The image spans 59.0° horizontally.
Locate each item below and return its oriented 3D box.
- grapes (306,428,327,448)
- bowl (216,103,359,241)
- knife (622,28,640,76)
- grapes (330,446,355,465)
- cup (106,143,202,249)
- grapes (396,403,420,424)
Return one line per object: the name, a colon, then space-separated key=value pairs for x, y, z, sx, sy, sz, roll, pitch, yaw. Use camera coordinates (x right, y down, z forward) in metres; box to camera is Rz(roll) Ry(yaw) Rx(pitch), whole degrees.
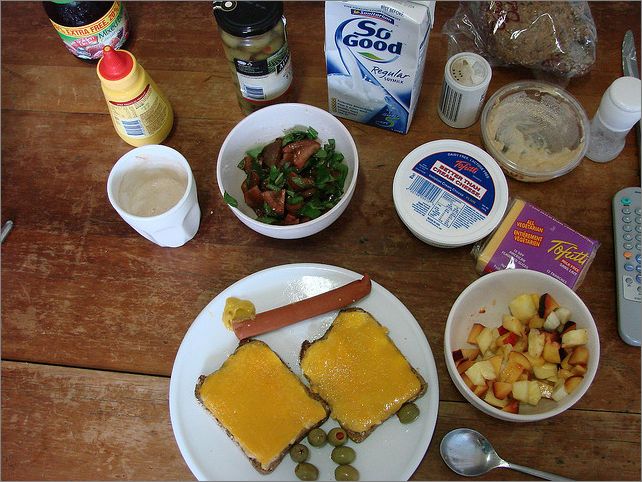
grapes: x=-0.010 y=0.528 z=1.514 sx=0.052 sy=0.029 sz=0.049 roll=0 pitch=71 yaw=1
bowl: x=-0.097 y=-0.209 z=1.701 sx=0.410 sy=0.129 sz=0.402 roll=0 pitch=71 yaw=1
knife: x=1.019 y=-0.604 z=1.851 sx=0.035 sy=0.011 sz=0.220 roll=7 pitch=67 yaw=15
grapes: x=0.060 y=0.563 z=1.487 sx=0.052 sy=0.039 sz=0.043 roll=-2 pitch=75 yaw=4
cup: x=-0.483 y=-0.138 z=1.722 sx=0.266 sy=0.244 sz=0.313 roll=-1 pitch=80 yaw=-3
grapes: x=0.233 y=0.458 z=1.498 sx=0.054 sy=0.044 sz=0.042 roll=-19 pitch=44 yaw=-3
